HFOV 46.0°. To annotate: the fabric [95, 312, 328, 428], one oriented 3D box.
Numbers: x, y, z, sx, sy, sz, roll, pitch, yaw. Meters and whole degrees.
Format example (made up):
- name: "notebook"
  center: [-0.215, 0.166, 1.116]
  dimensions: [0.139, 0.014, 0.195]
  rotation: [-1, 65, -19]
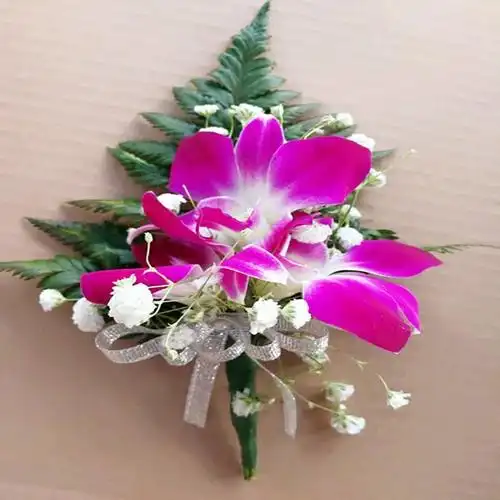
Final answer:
- name: "fabric"
  center: [-0.030, 0.168, 0.877]
  dimensions: [0.312, 0.074, 0.244]
  rotation: [10, -7, -15]
